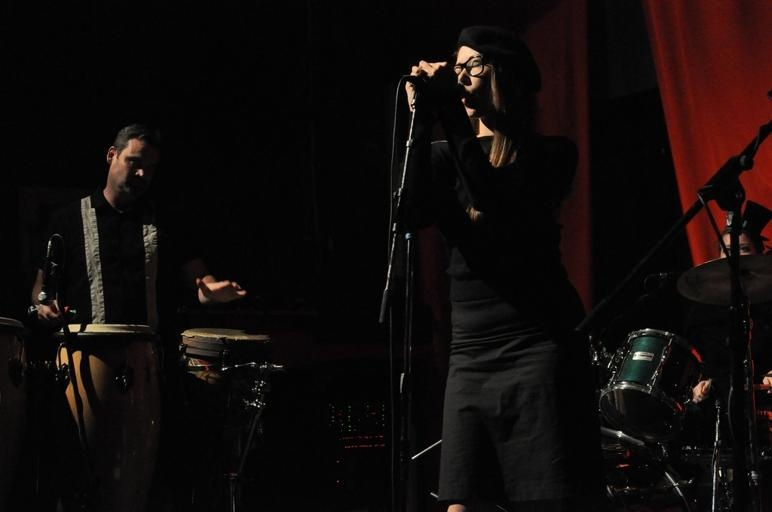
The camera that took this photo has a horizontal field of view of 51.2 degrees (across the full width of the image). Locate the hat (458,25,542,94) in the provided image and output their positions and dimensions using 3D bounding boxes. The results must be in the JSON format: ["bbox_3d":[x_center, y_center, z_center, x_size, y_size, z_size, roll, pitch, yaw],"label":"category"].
[{"bbox_3d":[0.567,-0.959,3.818,0.339,0.121,0.308,29,-1,-27],"label":"hat"}]

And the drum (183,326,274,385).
[{"bbox_3d":[-1.033,0.644,5.180,0.561,0.353,0.264,2,-10,-14],"label":"drum"}]

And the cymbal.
[{"bbox_3d":[2.058,0.144,4.891,0.548,0.235,0.583,-3,-11,19],"label":"cymbal"}]

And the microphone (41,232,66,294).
[{"bbox_3d":[-1.916,0.060,4.690,0.133,0.445,0.161,1,-2,5],"label":"microphone"}]

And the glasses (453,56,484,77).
[{"bbox_3d":[0.398,-0.885,3.750,0.123,0.044,0.126,-11,-23,31],"label":"glasses"}]
